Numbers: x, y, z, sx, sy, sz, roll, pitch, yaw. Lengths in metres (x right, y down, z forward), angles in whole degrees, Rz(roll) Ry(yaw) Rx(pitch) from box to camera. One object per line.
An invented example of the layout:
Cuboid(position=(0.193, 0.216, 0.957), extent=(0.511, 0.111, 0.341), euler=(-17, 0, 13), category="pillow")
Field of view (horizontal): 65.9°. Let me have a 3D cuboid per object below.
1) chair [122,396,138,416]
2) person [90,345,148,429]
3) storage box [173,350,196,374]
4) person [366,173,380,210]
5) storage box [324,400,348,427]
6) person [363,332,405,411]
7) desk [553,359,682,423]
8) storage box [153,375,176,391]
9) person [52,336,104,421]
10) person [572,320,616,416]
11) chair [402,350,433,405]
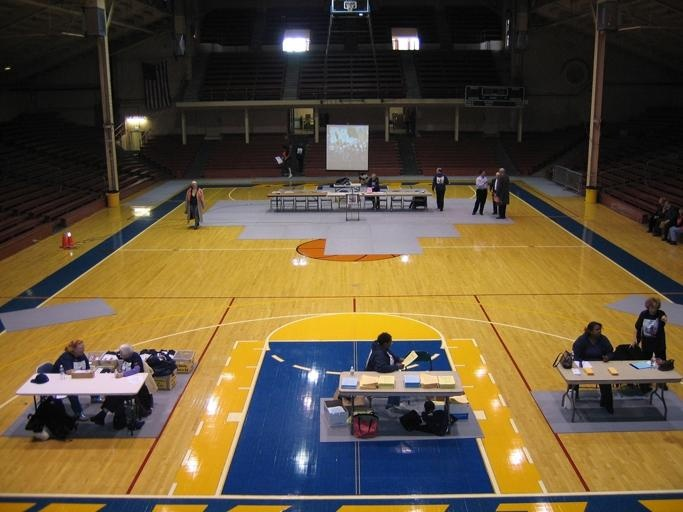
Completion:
Cuboid(position=(-3.623, 2.578, 8.993), extent=(0.237, 0.319, 0.334), euler=(1, 2, -9), category="chair")
Cuboid(position=(-3.813, 2.295, 9.369), extent=(0.970, 1.360, 0.707), euler=(5, -19, -29), category="person")
Cuboid(position=(-3.164, 2.107, 10.590), extent=(0.408, 0.247, 0.402), euler=(1, 18, -5), category="storage box")
Cuboid(position=(1.461, -2.914, 23.911), extent=(0.616, 1.719, 1.401), euler=(3, -3, 2), category="person")
Cuboid(position=(-0.132, 2.779, 9.243), extent=(0.277, 0.190, 0.444), euler=(-3, 13, -13), category="storage box")
Cuboid(position=(0.853, 2.081, 9.457), extent=(0.725, 1.165, 0.582), euler=(-12, 2, 28), category="person")
Cuboid(position=(4.787, 2.373, 9.315), extent=(2.137, 1.090, 1.188), euler=(3, -3, -3), category="desk")
Cuboid(position=(-3.354, 2.438, 10.082), extent=(0.301, 0.187, 0.300), euler=(0, 7, 1), category="storage box")
Cuboid(position=(-4.815, 2.131, 9.509), extent=(0.950, 1.297, 0.815), euler=(9, 15, 15), category="person")
Cuboid(position=(4.673, 1.994, 9.553), extent=(0.744, 1.522, 0.889), euler=(-3, 4, -4), category="person")
Cuboid(position=(1.481, 2.140, 10.247), extent=(0.509, 0.839, 0.589), euler=(0, -3, 3), category="chair")
